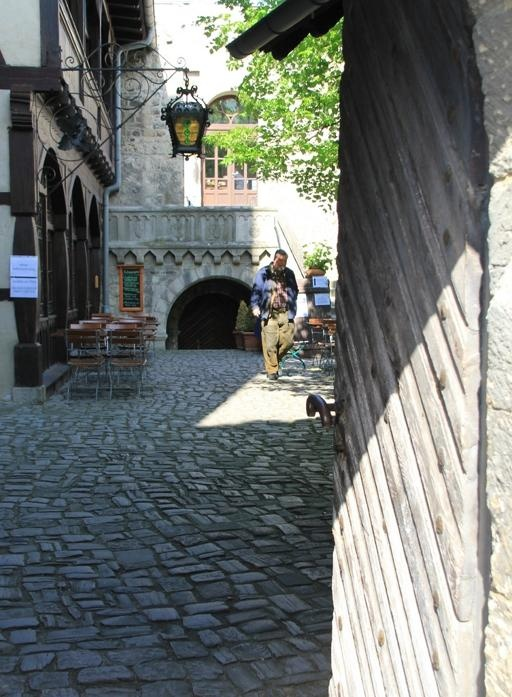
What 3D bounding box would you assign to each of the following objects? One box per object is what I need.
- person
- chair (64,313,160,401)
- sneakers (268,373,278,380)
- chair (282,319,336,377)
[{"bbox_3d":[0.321,-0.516,11.186,0.741,2.235,0.990,1,3,20],"label":"person"},{"bbox_3d":[-2.460,0.160,10.981,0.906,0.853,2.099,0,3,0],"label":"chair"},{"bbox_3d":[0.302,0.502,11.674,0.112,0.123,0.097,-2,1,-9],"label":"sneakers"},{"bbox_3d":[1.136,0.010,13.934,0.695,0.595,1.364,-1,18,4],"label":"chair"}]
